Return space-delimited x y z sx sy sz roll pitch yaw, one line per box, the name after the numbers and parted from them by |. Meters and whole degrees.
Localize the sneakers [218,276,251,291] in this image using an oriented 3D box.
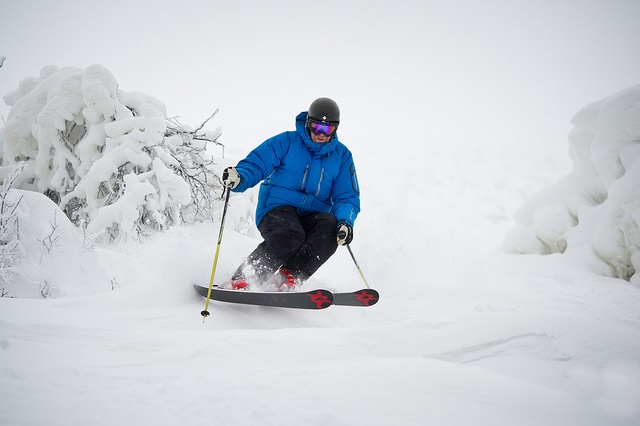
-1.082 0.909 7.133 0.296 0.130 0.170 -5 11 6 | sneakers

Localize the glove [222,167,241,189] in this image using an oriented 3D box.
-1.119 -0.441 7.154 0.191 0.249 0.274 -4 -3 -17 | glove

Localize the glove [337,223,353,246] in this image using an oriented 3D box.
0.330 0.266 7.400 0.197 0.278 0.249 3 4 6 | glove

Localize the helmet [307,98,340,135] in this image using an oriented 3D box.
0.048 -1.292 7.607 0.419 0.503 0.560 5 29 -13 | helmet
